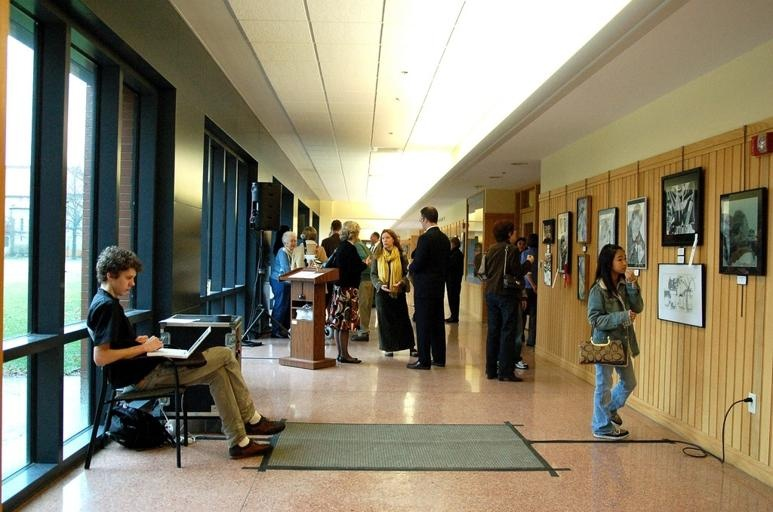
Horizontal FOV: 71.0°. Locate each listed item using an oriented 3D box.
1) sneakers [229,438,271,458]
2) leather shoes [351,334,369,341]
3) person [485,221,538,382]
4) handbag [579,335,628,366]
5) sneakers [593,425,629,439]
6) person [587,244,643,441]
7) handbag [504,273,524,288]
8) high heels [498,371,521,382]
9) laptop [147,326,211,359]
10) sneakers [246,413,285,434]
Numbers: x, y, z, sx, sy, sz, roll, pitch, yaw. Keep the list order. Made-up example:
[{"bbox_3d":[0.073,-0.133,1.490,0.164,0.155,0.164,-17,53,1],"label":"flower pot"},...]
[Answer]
[{"bbox_3d":[-1.225,1.689,4.846,0.365,0.167,0.149,0,-2,-14],"label":"sneakers"},{"bbox_3d":[-0.481,1.496,9.809,0.239,0.109,0.127,4,-6,-5],"label":"leather shoes"},{"bbox_3d":[1.547,0.606,7.252,0.588,2.092,0.351,3,5,21],"label":"person"},{"bbox_3d":[2.089,0.925,5.224,0.338,0.112,0.272,-3,33,1],"label":"handbag"},{"bbox_3d":[2.204,1.755,5.425,0.362,0.178,0.139,-2,0,1],"label":"sneakers"},{"bbox_3d":[2.254,0.851,5.395,0.428,1.900,0.519,5,6,38],"label":"person"},{"bbox_3d":[1.666,0.340,7.135,0.286,0.189,0.069,0,5,-20],"label":"handbag"},{"bbox_3d":[1.613,1.615,7.234,0.327,0.146,0.115,-1,-2,-1],"label":"high heels"},{"bbox_3d":[-1.786,0.779,4.666,0.271,0.170,0.280,12,-3,-1],"label":"laptop"},{"bbox_3d":[-1.171,1.624,5.223,0.371,0.158,0.151,1,0,-11],"label":"sneakers"}]
